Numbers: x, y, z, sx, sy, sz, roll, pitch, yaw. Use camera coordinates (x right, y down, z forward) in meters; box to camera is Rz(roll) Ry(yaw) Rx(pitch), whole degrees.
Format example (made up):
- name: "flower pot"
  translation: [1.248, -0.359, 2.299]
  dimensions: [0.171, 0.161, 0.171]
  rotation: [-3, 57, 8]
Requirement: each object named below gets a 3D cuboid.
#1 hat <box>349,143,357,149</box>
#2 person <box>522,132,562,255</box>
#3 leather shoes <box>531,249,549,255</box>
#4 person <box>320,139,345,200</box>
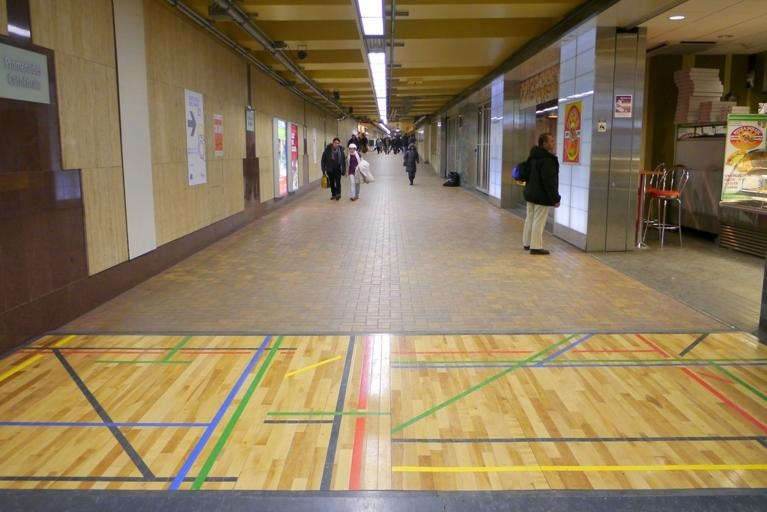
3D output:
- name: "hat"
  translation: [-0.978, -3.435, 14.712]
  dimensions: [0.220, 0.207, 0.344]
  rotation: [-2, 14, -7]
- name: "person"
  translation: [2.569, -1.014, 7.700]
  dimensions: [0.544, 1.916, 0.604]
  rotation: [4, 15, 15]
- name: "leather shoes"
  translation: [2.596, -0.073, 7.773]
  dimensions: [0.317, 0.128, 0.104]
  rotation: [-3, 10, -1]
- name: "person"
  translation: [-1.591, -2.776, 15.064]
  dimensions: [0.723, 1.931, 1.493]
  rotation: [-2, 14, -5]
